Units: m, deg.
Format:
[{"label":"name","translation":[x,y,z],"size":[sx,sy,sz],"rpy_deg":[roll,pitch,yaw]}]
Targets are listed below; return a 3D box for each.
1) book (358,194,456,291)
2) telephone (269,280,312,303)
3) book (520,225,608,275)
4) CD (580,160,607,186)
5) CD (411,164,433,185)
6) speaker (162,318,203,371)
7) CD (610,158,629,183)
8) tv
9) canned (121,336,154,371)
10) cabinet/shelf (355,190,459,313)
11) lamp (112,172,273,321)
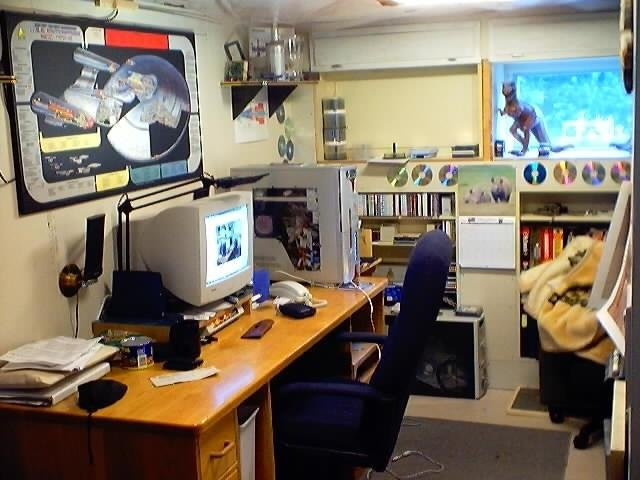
[{"label":"book","translation":[0.615,-0.031,3.893],"size":[0.650,0.781,0.213],"rpy_deg":[0,3,8]},{"label":"telephone","translation":[-0.161,0.289,3.189],"size":[0.191,0.068,0.111],"rpy_deg":[6,8,36]},{"label":"book","translation":[1.865,0.070,4.181],"size":[0.316,0.343,0.117],"rpy_deg":[0,-1,7]},{"label":"CD","translation":[2.085,-0.509,4.191],"size":[0.166,0.180,0.035],"rpy_deg":[-1,8,0]},{"label":"CD","translation":[0.844,-0.551,4.531],"size":[0.115,0.137,0.006],"rpy_deg":[16,13,10]},{"label":"speaker","translation":[-0.581,0.451,2.384],"size":[0.195,0.234,0.131],"rpy_deg":[-2,6,0]},{"label":"CD","translation":[2.282,-0.517,4.146],"size":[0.170,0.179,0.085],"rpy_deg":[-3,9,-14]},{"label":"tv","translation":[-0.664,-0.052,2.907],"size":[0.516,0.744,0.823],"rpy_deg":[0,6,22]},{"label":"canned","translation":[-0.793,0.490,2.382],"size":[0.107,0.093,0.117],"rpy_deg":[0,3,-11]},{"label":"cabinet/shelf","translation":[0.602,0.034,3.783],"size":[0.809,0.985,0.287],"rpy_deg":[0,2,9]},{"label":"lamp","translation":[-0.681,-0.021,2.950],"size":[0.515,0.723,0.812],"rpy_deg":[5,8,14]}]
